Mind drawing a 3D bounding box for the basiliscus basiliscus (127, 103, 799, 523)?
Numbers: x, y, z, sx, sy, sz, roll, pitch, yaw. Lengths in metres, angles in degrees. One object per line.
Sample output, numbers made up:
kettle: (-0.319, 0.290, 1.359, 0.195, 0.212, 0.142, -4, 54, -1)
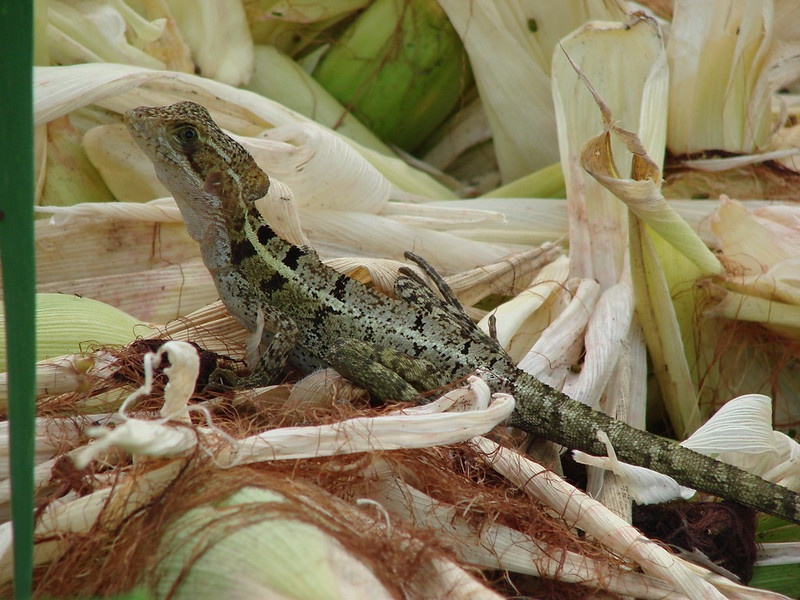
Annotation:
basiliscus basiliscus: (0.035, 0.041, 1.563, 1.069, 0.343, 0.346, 26, 35, 13)
